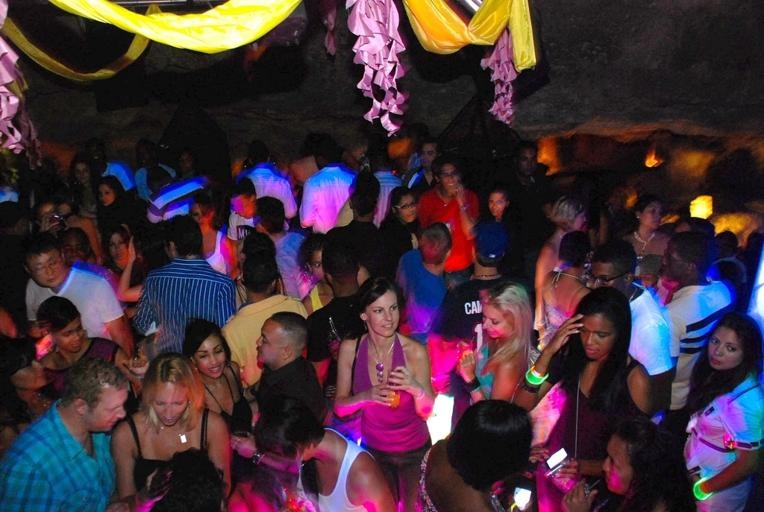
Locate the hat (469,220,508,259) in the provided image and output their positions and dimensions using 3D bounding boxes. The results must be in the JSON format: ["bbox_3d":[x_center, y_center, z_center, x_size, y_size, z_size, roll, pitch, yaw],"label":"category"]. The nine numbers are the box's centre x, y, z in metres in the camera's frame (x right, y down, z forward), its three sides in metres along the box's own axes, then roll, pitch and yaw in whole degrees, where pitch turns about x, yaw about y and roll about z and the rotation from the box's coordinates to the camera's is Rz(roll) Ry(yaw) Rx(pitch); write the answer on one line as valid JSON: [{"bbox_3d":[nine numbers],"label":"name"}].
[{"bbox_3d":[1.157,-0.194,7.157,0.269,0.393,0.627,11,-47,12],"label":"hat"}]

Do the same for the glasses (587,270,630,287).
[{"bbox_3d":[2.324,0.225,6.677,0.385,0.211,0.159,-4,-8,26],"label":"glasses"}]
